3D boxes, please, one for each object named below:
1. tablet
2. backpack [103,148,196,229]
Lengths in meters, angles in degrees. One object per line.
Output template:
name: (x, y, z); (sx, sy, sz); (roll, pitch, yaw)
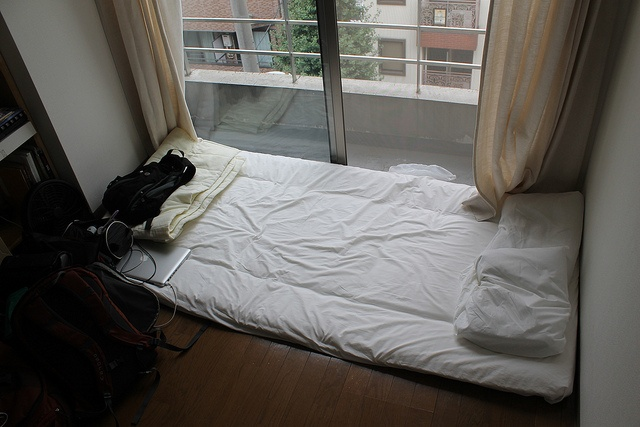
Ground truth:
tablet: (-1.089, 0.307, 2.662); (0.370, 0.052, 0.257); (11, 50, 21)
backpack: (-1.162, -0.238, 2.936); (0.427, 0.238, 0.613); (27, 53, 26)
